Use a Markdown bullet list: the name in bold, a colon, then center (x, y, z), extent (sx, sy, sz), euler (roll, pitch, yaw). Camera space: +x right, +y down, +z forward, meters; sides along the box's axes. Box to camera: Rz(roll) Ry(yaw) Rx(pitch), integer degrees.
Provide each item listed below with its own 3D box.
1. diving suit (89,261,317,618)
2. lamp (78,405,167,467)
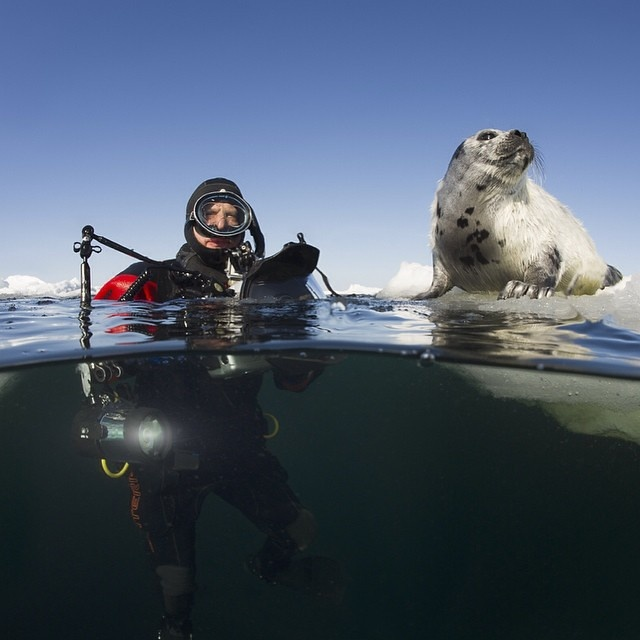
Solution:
- **diving suit**: center (-1.199, 1.613, 7.338), extent (1.149, 2.730, 2.162), euler (6, 12, 44)
- **lamp**: center (-1.883, 1.126, 6.659), extent (1.228, 0.515, 0.698), euler (-3, -2, 9)
